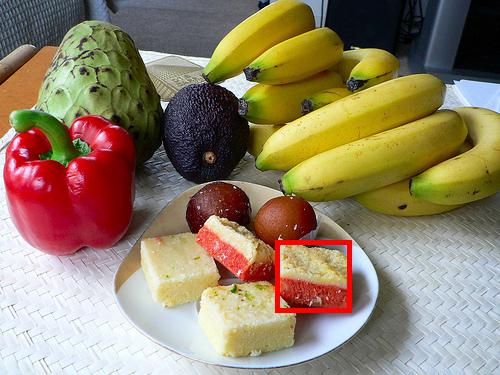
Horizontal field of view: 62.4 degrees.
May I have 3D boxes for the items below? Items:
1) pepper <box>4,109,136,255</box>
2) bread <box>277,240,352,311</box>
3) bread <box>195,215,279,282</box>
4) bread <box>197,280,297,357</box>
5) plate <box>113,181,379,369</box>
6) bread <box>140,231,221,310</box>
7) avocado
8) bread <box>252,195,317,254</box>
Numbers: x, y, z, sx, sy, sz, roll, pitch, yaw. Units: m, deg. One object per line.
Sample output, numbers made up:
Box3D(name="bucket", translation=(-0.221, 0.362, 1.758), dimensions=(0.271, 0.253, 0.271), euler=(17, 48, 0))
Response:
Box3D(name="pepper", translation=(-0.306, -0.008, 0.733), dimensions=(0.205, 0.146, 0.209), euler=(-5, 49, -6))
Box3D(name="bread", translation=(0.097, 0.136, 0.674), dimensions=(0.126, 0.091, 0.111), euler=(2, 22, -6))
Box3D(name="bread", translation=(-0.011, 0.097, 0.669), dimensions=(0.127, 0.096, 0.066), euler=(36, 94, 21))
Box3D(name="bread", translation=(-0.001, 0.184, 0.590), dimensions=(0.126, 0.044, 0.101), euler=(-5, 49, -7))
Box3D(name="plate", translation=(-0.013, 0.175, 0.704), dimensions=(0.328, 0.232, 0.339), euler=(-13, 26, -26))
Box3D(name="bread", translation=(-0.112, 0.123, 0.651), dimensions=(0.103, 0.054, 0.110), euler=(-7, 44, -28))
Box3D(name="avocado", translation=(-0.094, -0.106, 0.854), dimensions=(0.171, 0.176, 0.150), euler=(-6, 32, -8))
Box3D(name="bread", translation=(0.058, 0.056, 0.731), dimensions=(0.095, 0.089, 0.091), euler=(-5, 25, -13))
